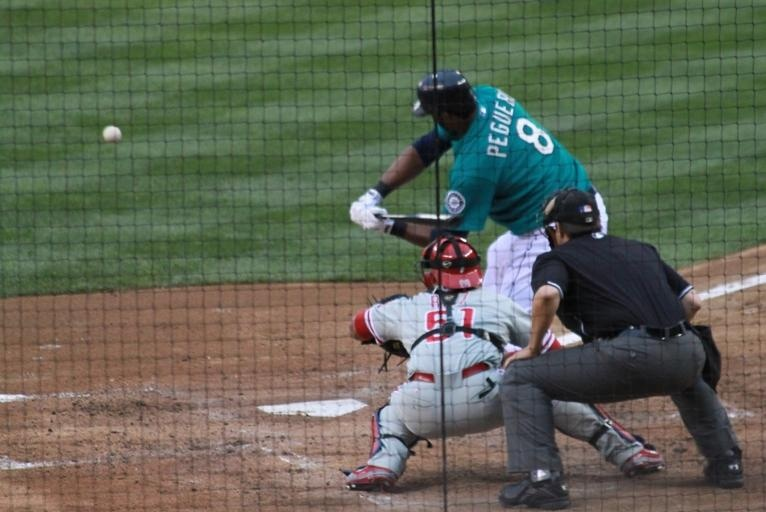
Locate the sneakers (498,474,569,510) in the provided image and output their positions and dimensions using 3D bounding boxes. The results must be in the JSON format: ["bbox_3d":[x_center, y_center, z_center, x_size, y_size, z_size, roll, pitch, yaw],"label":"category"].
[{"bbox_3d":[1.406,2.149,15.138,0.682,0.271,0.269,5,9,4],"label":"sneakers"}]

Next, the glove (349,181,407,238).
[{"bbox_3d":[-0.130,-0.466,16.459,0.494,0.175,0.446,-22,34,4],"label":"glove"}]

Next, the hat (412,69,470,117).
[{"bbox_3d":[0.571,-1.594,16.008,0.627,0.276,0.391,2,45,15],"label":"hat"}]

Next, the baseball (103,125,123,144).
[{"bbox_3d":[-3.367,-1.503,20.114,0.258,0.220,0.174,-9,-19,2],"label":"baseball"}]

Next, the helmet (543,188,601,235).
[{"bbox_3d":[1.748,-0.400,15.283,0.399,0.286,0.495,-11,28,-15],"label":"helmet"}]
